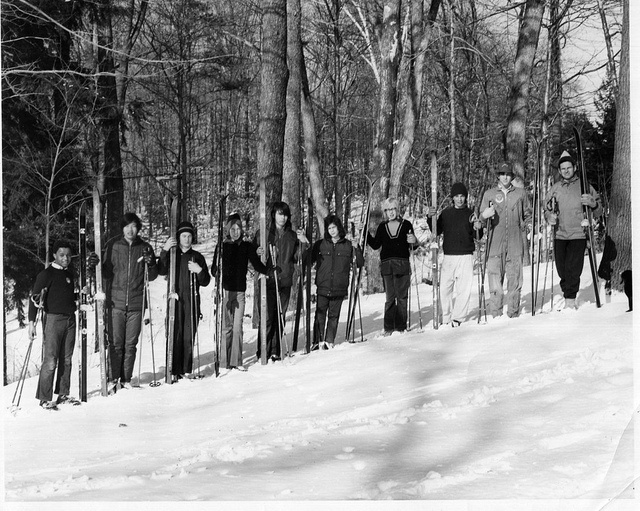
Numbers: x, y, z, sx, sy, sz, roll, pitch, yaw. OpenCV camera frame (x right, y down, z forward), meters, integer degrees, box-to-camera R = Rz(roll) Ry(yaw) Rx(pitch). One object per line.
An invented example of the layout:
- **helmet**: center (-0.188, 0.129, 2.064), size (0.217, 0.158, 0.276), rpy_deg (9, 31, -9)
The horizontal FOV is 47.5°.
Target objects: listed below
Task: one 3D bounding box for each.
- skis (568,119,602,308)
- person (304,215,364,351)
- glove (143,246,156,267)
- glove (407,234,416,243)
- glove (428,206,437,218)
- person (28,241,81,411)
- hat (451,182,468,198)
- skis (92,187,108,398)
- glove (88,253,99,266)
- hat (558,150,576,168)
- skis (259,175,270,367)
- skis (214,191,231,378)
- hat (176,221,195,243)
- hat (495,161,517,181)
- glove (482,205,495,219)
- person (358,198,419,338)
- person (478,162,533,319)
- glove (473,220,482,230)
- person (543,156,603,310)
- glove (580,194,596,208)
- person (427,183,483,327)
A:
- **skis**: center (3.768, -0.357, 10.617), size (0.179, 2.981, 0.216), rpy_deg (-2, 40, 10)
- **person**: center (0.167, 0.374, 10.255), size (0.805, 1.858, 0.471), rpy_deg (-3, 10, 9)
- **glove**: center (-2.186, 0.007, 9.313), size (0.044, 0.228, 0.138), rpy_deg (-13, -14, 29)
- **glove**: center (1.282, -0.234, 10.332), size (0.113, 0.122, 0.203), rpy_deg (-10, 0, 4)
- **glove**: center (1.596, -0.638, 10.465), size (0.122, 0.148, 0.043), rpy_deg (5, -1, -37)
- **person**: center (-3.255, 0.850, 8.943), size (0.655, 1.972, 0.592), rpy_deg (-10, 11, -28)
- **hat**: center (1.964, -0.929, 10.298), size (0.151, 0.221, 0.232), rpy_deg (0, -4, -4)
- **skis**: center (-2.752, 0.554, 9.079), size (0.198, 3.074, 0.176), rpy_deg (1, -2, -13)
- **glove**: center (-3.255, 0.051, 10.448), size (0.170, 0.243, 0.068), rpy_deg (6, 8, 26)
- **hat**: center (3.457, -1.364, 10.214), size (0.199, 0.265, 0.224), rpy_deg (-3, 22, 14)
- **skis**: center (-0.774, 0.246, 9.817), size (0.133, 2.329, 0.237), rpy_deg (0, -5, -7)
- **skis**: center (-1.319, 0.440, 9.592), size (0.185, 2.734, 0.287), rpy_deg (1, 6, -7)
- **hat**: center (-1.744, -0.337, 9.432), size (0.187, 0.248, 0.243), rpy_deg (3, -19, -14)
- **hat**: center (2.605, -1.204, 10.285), size (0.228, 0.250, 0.305), rpy_deg (-2, 12, 17)
- **glove**: center (2.339, -0.594, 10.190), size (0.179, 0.225, 0.338), rpy_deg (-2, 12, 15)
- **person**: center (1.052, 0.171, 10.652), size (0.721, 2.050, 0.658), rpy_deg (-4, 10, 3)
- **person**: center (2.612, -0.210, 10.287), size (0.679, 2.178, 0.386), rpy_deg (-2, 10, 15)
- **glove**: center (2.174, -0.427, 10.127), size (0.085, 0.144, 0.046), rpy_deg (3, 12, 10)
- **person**: center (3.518, -0.330, 10.240), size (0.741, 2.281, 0.526), rpy_deg (2, 11, 34)
- **glove**: center (3.692, -0.755, 9.975), size (0.236, 0.202, 0.066), rpy_deg (-8, 10, -12)
- **person**: center (1.955, 0.010, 10.442), size (0.465, 2.125, 0.822), rpy_deg (-10, 11, -30)
